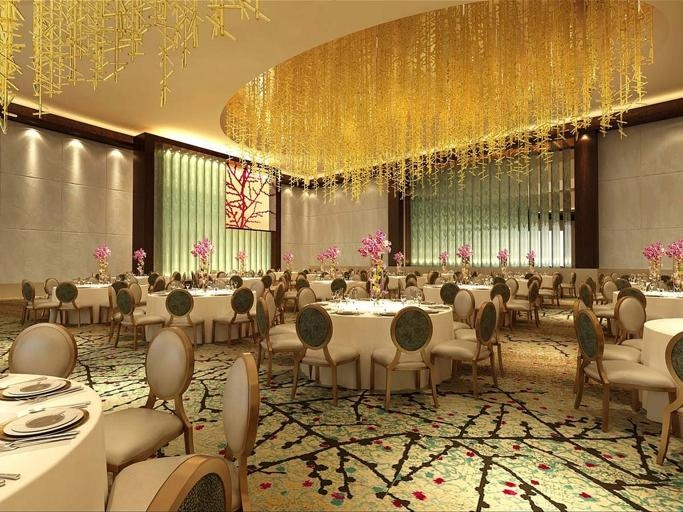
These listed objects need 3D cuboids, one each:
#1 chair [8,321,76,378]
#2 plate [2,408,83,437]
[{"bbox_3d":[-2.512,0.802,4.129,0.480,0.418,0.356,5,10,30],"label":"chair"},{"bbox_3d":[-1.812,1.014,2.994,0.197,0.028,0.204,3,6,39],"label":"plate"}]
